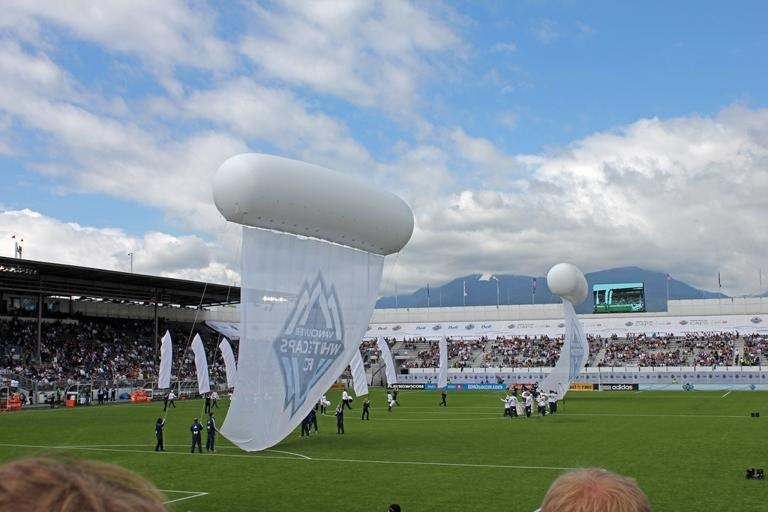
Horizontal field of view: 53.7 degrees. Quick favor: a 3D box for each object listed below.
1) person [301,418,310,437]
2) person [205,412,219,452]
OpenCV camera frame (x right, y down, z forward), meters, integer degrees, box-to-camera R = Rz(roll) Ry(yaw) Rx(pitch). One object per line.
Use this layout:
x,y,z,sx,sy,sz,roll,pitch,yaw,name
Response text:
-5.146,11.017,49.396,0.564,1.115,1.434,3,-6,-6,person
-9.989,10.050,43.614,0.496,2.114,1.331,4,-7,-11,person
